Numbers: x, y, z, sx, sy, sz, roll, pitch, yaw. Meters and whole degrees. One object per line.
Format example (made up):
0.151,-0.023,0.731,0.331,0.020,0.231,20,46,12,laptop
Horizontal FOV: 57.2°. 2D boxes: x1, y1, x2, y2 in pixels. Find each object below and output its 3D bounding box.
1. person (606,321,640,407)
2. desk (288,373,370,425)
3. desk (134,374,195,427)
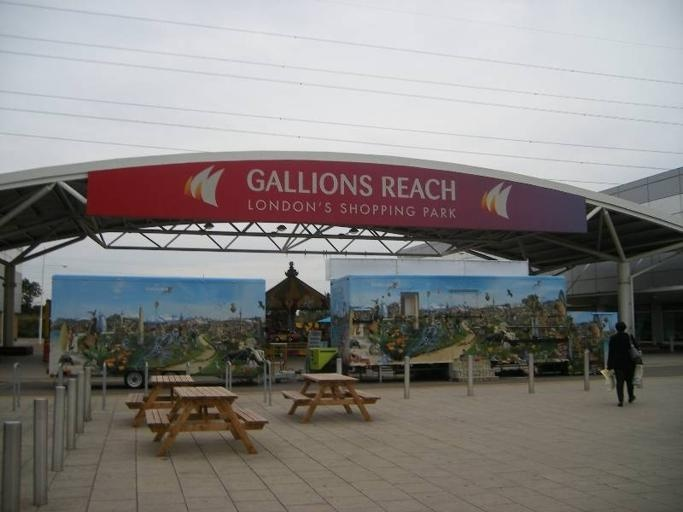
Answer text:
7.190,2.716,15.873,0.708,2.027,1.212,-7,-10,24,person
-0.379,3.198,14.271,1.394,0.746,1.473,3,-7,-9,desk
-3.894,3.172,13.706,1.734,0.830,1.698,10,-9,-14,desk
